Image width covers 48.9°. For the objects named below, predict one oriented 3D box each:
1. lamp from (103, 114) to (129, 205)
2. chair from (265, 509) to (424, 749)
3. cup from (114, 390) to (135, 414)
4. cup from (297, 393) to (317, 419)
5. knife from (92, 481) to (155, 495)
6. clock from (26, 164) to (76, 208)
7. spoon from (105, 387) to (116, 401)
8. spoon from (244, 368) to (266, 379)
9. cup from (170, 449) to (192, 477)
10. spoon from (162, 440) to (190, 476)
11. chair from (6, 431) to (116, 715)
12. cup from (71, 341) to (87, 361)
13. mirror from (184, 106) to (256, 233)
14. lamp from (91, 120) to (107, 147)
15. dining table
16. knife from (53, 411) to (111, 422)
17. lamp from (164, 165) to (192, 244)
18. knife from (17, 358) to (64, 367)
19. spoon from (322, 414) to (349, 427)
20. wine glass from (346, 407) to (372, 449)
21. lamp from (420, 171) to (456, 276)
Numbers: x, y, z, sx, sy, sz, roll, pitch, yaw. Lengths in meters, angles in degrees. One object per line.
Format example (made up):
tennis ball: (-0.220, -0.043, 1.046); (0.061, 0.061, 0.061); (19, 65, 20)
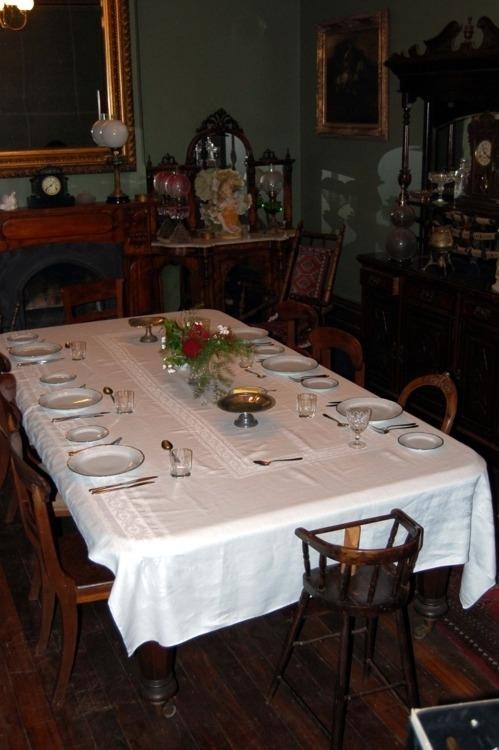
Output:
lamp: (-1.206, -1.928, 5.003); (0.182, 0.746, 0.505); (-3, 11, -13)
chair: (0.264, 0.738, 1.573); (0.427, 0.828, 0.366); (-13, 40, -18)
cup: (-0.490, 0.107, 2.196); (0.089, 0.081, 0.071); (-4, 7, -44)
cup: (0.211, 0.117, 2.119); (0.083, 0.096, 0.081); (0, 9, 0)
knife: (-0.363, 0.320, 1.577); (0.184, 0.017, 0.049); (-3, 11, -15)
clock: (-1.751, -1.644, 4.786); (0.428, 0.427, 0.171); (-10, 23, -31)
spoon: (-0.586, 0.071, 2.300); (0.037, 0.039, 0.138); (-5, 23, -18)
spoon: (0.024, -0.006, 2.535); (0.034, 0.020, 0.138); (-12, 24, -19)
cup: (-0.206, 0.259, 1.676); (0.077, 0.082, 0.071); (2, 13, 0)
spoon: (-0.229, 0.258, 1.688); (0.065, 0.106, 0.111); (-1, 6, -9)
chair: (-0.613, 0.678, 1.810); (0.431, 0.710, 0.445); (-13, 50, -26)
cup: (-0.864, -0.122, 2.830); (0.089, 0.100, 0.092); (0, 5, 0)
mirror: (-0.298, -1.975, 5.314); (0.610, 1.111, 0.839); (0, 11, 0)
lamp: (-1.354, -2.181, 4.921); (0.123, 0.273, 0.442); (-3, 11, -15)
dining table: (-0.123, 0.410, 2.060); (1.210, 0.673, 1.569); (-7, 12, -31)
knife: (-0.648, 0.161, 2.130); (0.136, 0.006, 0.019); (-7, 25, -21)
lamp: (-0.652, -1.538, 5.011); (0.222, 0.642, 0.385); (-2, 11, -7)
knife: (-1.055, -0.062, 2.759); (0.177, 0.018, 0.026); (-6, 27, -20)
spoon: (0.311, 0.168, 2.037); (0.027, 0.020, 0.135); (-14, 25, -17)
wine glass: (0.364, 0.183, 1.851); (0.081, 0.127, 0.081); (6, 37, 11)
lamp: (1.334, -1.081, 3.907); (0.190, 0.695, 0.711); (3, 11, 17)
